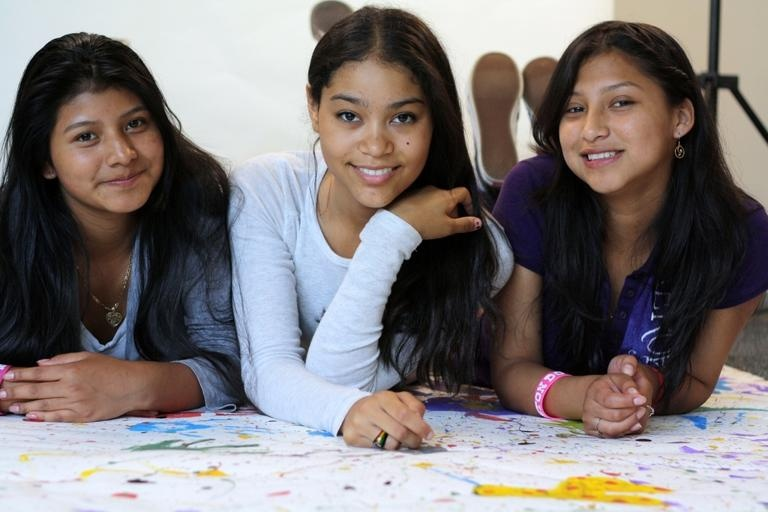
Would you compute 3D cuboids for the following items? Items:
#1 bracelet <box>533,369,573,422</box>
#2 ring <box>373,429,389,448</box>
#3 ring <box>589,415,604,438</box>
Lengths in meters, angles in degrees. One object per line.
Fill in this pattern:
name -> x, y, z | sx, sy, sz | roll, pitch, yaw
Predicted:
bracelet -> 0.421, 0.349, 1.838 | 0.036, 0.107, 0.092 | 8, 26, 11
ring -> -0.007, 0.394, 1.565 | 0.015, 0.039, 0.028 | 17, 13, -15
ring -> 0.495, 0.399, 1.702 | 0.031, 0.035, 0.041 | -2, -7, 4
